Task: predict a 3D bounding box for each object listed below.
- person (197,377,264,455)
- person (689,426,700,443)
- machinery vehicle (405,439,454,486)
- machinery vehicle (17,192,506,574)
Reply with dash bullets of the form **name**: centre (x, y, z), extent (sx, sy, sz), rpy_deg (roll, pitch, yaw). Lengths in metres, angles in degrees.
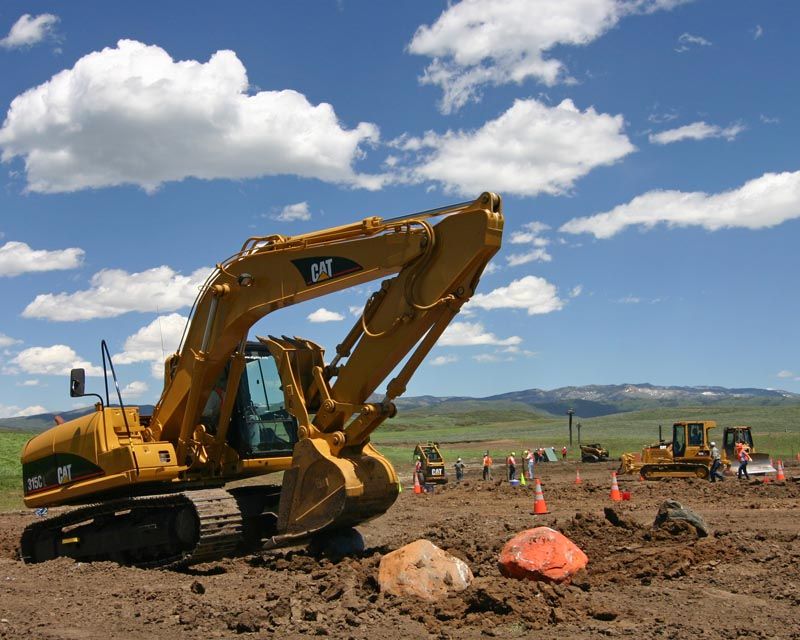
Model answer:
- **person**: centre (-2.960, 1.763, 11.153), extent (1.238, 1.236, 0.473), rpy_deg (11, 15, 6)
- **person**: centre (12.032, 4.680, 25.520), extent (0.480, 0.793, 0.233), rpy_deg (-5, -11, 17)
- **machinery vehicle**: centre (1.347, 6.357, 28.438), extent (1.173, 1.459, 3.126), rpy_deg (-6, -1, -9)
- **machinery vehicle**: centre (-2.623, 1.313, 10.929), extent (9.823, 4.771, 4.334), rpy_deg (-13, -7, 36)
